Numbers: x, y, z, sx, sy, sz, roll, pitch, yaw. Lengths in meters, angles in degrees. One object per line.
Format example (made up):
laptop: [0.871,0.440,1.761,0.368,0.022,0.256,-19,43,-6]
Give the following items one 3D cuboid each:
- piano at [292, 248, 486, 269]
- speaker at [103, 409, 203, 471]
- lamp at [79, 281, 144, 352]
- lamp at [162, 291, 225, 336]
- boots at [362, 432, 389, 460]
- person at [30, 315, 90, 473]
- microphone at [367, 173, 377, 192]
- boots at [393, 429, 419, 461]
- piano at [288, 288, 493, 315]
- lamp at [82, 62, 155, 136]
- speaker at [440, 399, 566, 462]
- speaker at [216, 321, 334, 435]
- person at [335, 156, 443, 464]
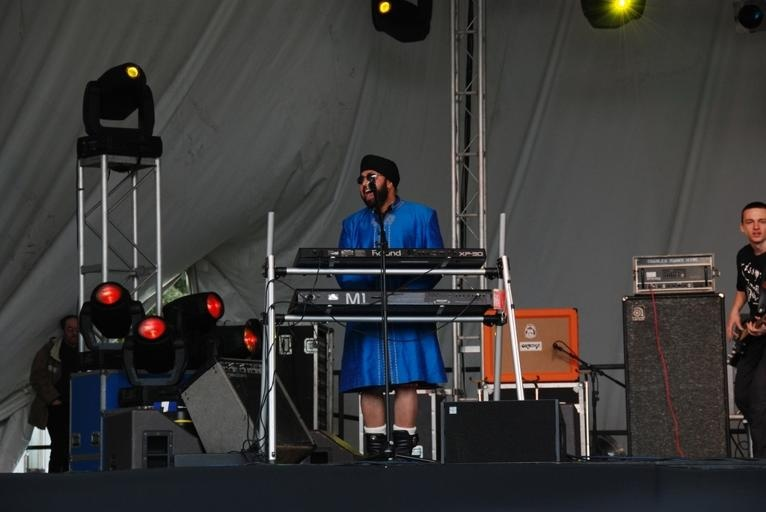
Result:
piano: [0.062,0.012,11.511,1.489,0.201,0.245,-2,-15,-3]
speaker: [-1.828,1.537,11.839,0.575,0.368,0.568,5,-11,-31]
lamp: [-2.241,0.587,12.890,0.582,0.747,0.553,2,-14,-4]
lamp: [-1.563,0.499,12.615,0.477,0.324,0.279,-9,1,15]
boots: [-0.050,1.473,11.440,0.188,0.167,0.171,-6,-11,43]
person: [-3.291,1.376,14.844,0.375,1.576,0.782,10,-19,-41]
microphone: [-0.067,-0.563,11.567,0.044,0.114,0.108,-3,13,3]
boots: [0.187,1.475,11.568,0.267,0.254,0.131,-1,-1,-14]
piano: [0.091,0.365,11.531,1.639,0.254,0.139,-2,-15,-4]
lamp: [-2.402,-1.371,13.391,0.544,0.643,0.454,10,-19,-40]
speaker: [0.879,1.311,11.025,0.894,0.470,0.129,-4,-14,4]
speaker: [-1.109,1.163,13.798,0.882,1.164,1.170,2,-4,24]
person: [0.061,0.422,11.926,0.948,2.306,1.009,1,-2,1]
